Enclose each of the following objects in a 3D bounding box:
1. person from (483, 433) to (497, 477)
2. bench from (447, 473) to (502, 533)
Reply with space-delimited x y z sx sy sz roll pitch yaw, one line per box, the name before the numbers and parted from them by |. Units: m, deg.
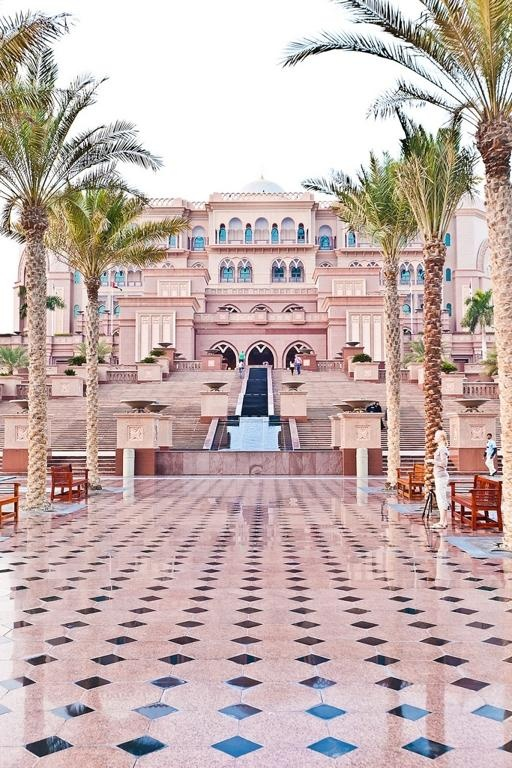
person | 7.022 2.117 20.575 0.334 1.203 1.846 -1 -1 18
bench | 3.537 1.906 11.109 0.457 0.761 1.579 1 -4 5
